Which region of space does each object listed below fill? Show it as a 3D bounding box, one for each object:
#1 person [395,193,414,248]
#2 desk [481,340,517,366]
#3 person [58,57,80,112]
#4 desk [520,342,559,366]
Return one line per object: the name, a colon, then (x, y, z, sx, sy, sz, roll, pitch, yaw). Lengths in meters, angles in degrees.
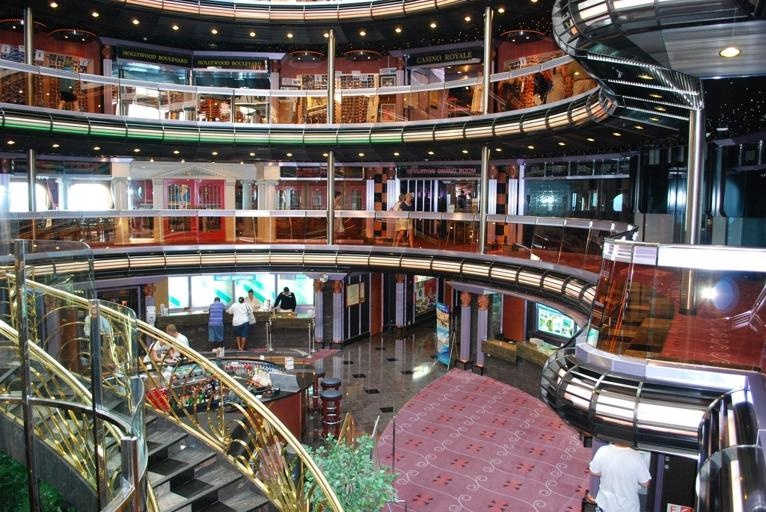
person: (0.757, -1.218, 20.601, 0.599, 1.686, 1.021, 0, 9, 1)
desk: (3.556, 2.899, 18.444, 0.626, 0.485, 1.760, 10, 0, -40)
person: (-9.049, -4.619, 17.534, 0.552, 0.897, 0.216, -7, 12, -36)
desk: (4.343, 2.835, 17.325, 0.296, 0.576, 1.351, -3, 10, -21)
